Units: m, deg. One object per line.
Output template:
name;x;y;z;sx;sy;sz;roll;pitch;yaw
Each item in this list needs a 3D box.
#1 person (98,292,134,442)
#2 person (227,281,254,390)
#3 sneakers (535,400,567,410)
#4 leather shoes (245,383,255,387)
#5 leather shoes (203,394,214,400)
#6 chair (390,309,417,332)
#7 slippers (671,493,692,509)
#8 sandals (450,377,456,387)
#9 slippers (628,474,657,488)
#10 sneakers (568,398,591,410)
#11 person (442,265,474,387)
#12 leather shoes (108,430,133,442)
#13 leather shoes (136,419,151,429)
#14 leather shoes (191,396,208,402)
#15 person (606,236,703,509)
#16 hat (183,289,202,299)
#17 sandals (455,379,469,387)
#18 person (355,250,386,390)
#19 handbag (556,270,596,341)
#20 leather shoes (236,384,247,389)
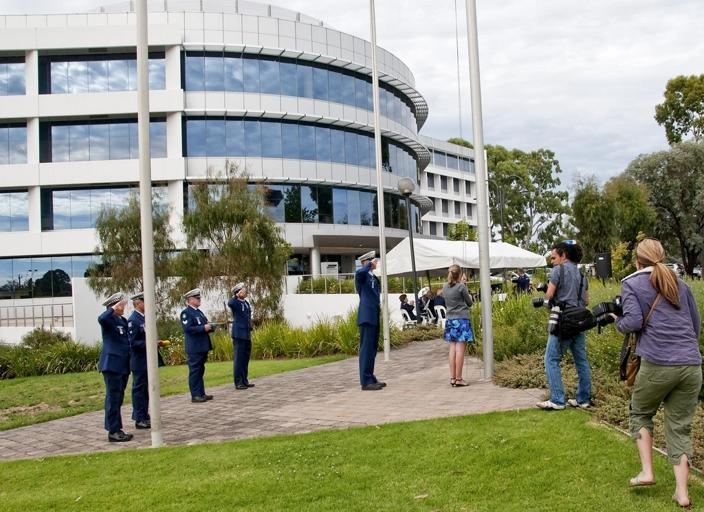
person;-5.225;2.454;18.729;0.723;3.122;1.021;-6;7;-18
person;-2.910;2.147;22.242;0.537;2.662;1.107;-5;7;-8
sneakers;4.258;3.163;17.980;0.580;0.304;0.234;4;-6;12
leather shoes;-2.646;3.393;22.186;0.210;0.104;0.072;-6;1;-37
leather shoes;-3.589;3.531;21.123;0.243;0.126;0.087;-8;-4;30
chair;1.997;2.487;32.410;0.725;1.147;0.737;-1;-2;24
slippers;5.757;4.270;14.759;0.125;0.178;0.375;0;13;-8
sandals;2.427;3.026;20.264;0.163;0.161;0.503;-1;-6;2
slippers;5.160;4.007;15.032;0.395;0.145;0.206;-4;-12;33
sneakers;4.867;3.163;18.064;0.171;0.239;0.476;0;4;-42
person;2.572;1.668;20.377;0.680;2.895;0.829;-3;7;7
leather shoes;-5.051;3.951;18.479;0.420;0.237;0.255;0;-2;-3
leather shoes;-4.690;3.848;19.401;0.466;0.243;0.191;-2;-3;1
leather shoes;-3.754;3.564;21.031;0.391;0.206;0.159;-3;-4;15
person;5.481;2.030;14.972;1.288;4.584;0.918;-1;7;22
hat;-4.035;0.971;21.308;0.462;0.255;0.452;-4;2;2
sandals;2.609;3.033;20.211;0.266;0.127;0.148;-1;2;-21
person;0.425;1.589;20.956;0.647;3.341;1.505;-4;7;1
handbag;4.689;1.339;17.739;0.729;1.633;0.663;0;1;0
leather shoes;-2.855;3.402;21.966;0.254;0.124;0.108;-5;-4;19
